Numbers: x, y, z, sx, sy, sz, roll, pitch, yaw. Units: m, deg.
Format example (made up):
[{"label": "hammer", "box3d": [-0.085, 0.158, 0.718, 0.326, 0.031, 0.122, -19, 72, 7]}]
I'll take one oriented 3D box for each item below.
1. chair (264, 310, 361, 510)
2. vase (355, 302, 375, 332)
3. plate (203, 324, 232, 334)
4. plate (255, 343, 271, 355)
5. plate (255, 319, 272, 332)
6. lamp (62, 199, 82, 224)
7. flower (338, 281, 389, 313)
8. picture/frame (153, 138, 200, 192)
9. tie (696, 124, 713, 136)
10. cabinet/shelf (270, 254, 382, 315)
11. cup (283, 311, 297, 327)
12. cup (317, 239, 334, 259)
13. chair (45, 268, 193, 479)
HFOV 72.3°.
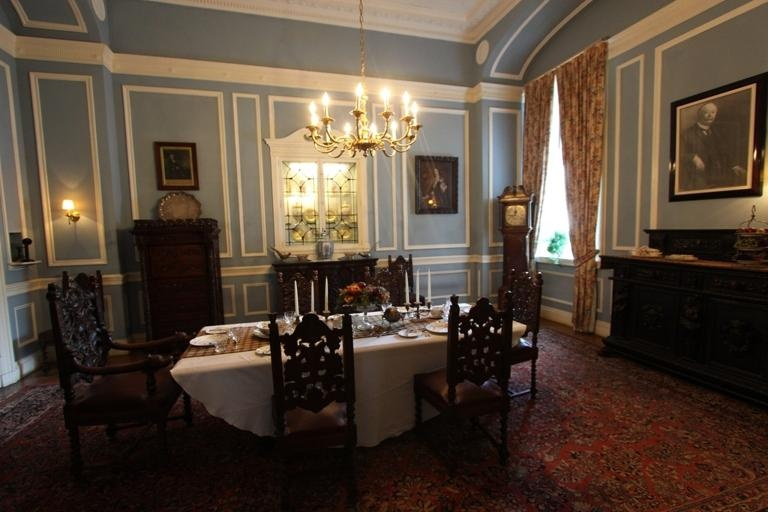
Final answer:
[{"label": "chair", "box3d": [-0.616, 1.349, 4.753, 0.784, 1.791, 0.518, -5, 7, -14]}, {"label": "vase", "box3d": [-0.170, 0.657, 5.546, 0.238, 0.261, 0.234, 1, -2, 1]}, {"label": "plate", "box3d": [-1.767, 0.766, 5.565, 0.158, 0.038, 0.157, -2, 5, -37]}, {"label": "plate", "box3d": [-1.148, 0.886, 4.977, 0.117, 0.027, 0.115, -3, 6, -41]}, {"label": "plate", "box3d": [-1.245, 0.710, 5.425, 0.181, 0.075, 0.193, 5, -4, -31]}, {"label": "lamp", "box3d": [-4.087, -0.581, 6.825, 0.211, 0.304, 0.111, -6, 7, -18]}, {"label": "flower", "box3d": [-0.231, 0.373, 5.436, 0.365, 0.227, 0.369, 3, 1, 34]}, {"label": "picture/frame", "box3d": [-2.917, -1.279, 7.263, 0.708, 0.889, 0.070, -3, 3, -16]}, {"label": "tie", "box3d": [3.769, -1.488, 6.157, 0.165, 0.210, 0.110, -1, -1, 25]}, {"label": "cabinet/shelf", "box3d": [-0.770, 0.355, 6.790, 0.788, 0.683, 0.272, -3, 9, -24]}, {"label": "cup", "box3d": [-0.931, 0.621, 5.226, 0.134, 0.151, 0.133, 1, 8, 0]}, {"label": "cup", "box3d": [-0.858, -0.104, 7.543, 0.244, 0.307, 0.245, 0, 3, 0]}, {"label": "chair", "box3d": [-2.634, 1.070, 5.046, 1.240, 1.837, 0.745, -2, 7, 17]}]
